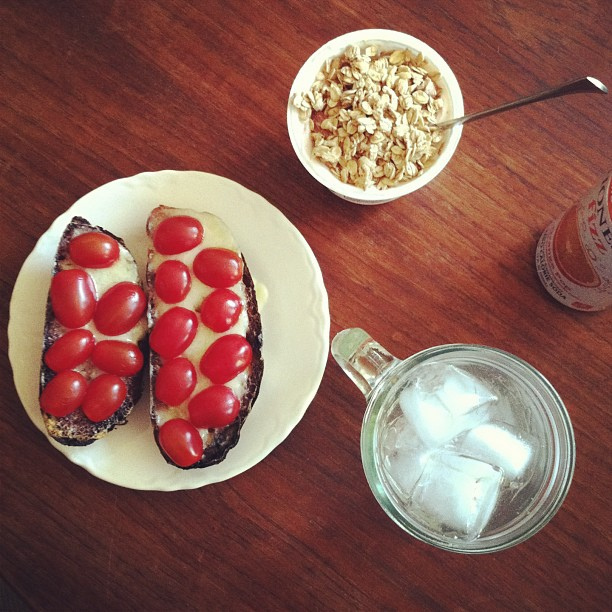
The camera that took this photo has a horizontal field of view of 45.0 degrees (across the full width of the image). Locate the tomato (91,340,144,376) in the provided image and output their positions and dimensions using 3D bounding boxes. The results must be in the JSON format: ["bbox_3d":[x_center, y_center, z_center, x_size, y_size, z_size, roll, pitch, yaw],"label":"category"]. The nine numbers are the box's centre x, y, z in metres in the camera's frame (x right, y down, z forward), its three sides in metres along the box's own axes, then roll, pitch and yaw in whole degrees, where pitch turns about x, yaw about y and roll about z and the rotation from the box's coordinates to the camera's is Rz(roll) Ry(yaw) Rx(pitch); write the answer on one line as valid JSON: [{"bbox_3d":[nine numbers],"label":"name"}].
[{"bbox_3d":[-0.266,0.074,1.047,0.072,0.045,0.043,11,108,6],"label":"tomato"}]

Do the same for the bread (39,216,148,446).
[{"bbox_3d":[-0.309,0.035,1.068,0.194,0.081,0.311,2,87,-5],"label":"bread"}]

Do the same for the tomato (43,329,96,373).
[{"bbox_3d":[-0.334,0.056,1.076,0.065,0.094,0.047,8,98,-14],"label":"tomato"}]

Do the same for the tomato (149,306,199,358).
[{"bbox_3d":[-0.187,0.037,1.044,0.060,0.040,0.076,39,89,-2],"label":"tomato"}]

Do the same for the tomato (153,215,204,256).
[{"bbox_3d":[-0.199,-0.099,1.074,0.027,0.097,0.065,42,131,41],"label":"tomato"}]

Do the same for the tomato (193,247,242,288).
[{"bbox_3d":[-0.130,-0.052,1.107,0.103,0.113,0.050,3,84,-9],"label":"tomato"}]

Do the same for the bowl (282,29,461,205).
[{"bbox_3d":[0.100,-0.276,1.186,0.307,0.100,0.238,-1,92,2],"label":"bowl"}]

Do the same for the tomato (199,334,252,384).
[{"bbox_3d":[-0.102,0.078,1.079,0.081,0.041,0.056,-35,88,-1],"label":"tomato"}]

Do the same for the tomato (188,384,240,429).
[{"bbox_3d":[-0.125,0.139,1.056,0.071,0.049,0.050,-27,88,7],"label":"tomato"}]

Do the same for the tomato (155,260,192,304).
[{"bbox_3d":[-0.190,-0.035,1.056,0.057,0.030,0.054,-2,87,-3],"label":"tomato"}]

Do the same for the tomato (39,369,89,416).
[{"bbox_3d":[-0.349,0.117,1.059,0.088,0.058,0.051,2,107,3],"label":"tomato"}]

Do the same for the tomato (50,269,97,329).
[{"bbox_3d":[-0.326,-0.010,1.037,0.070,0.066,0.077,-6,91,6],"label":"tomato"}]

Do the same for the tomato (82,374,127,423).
[{"bbox_3d":[-0.284,0.127,1.047,0.059,0.039,0.066,26,95,15],"label":"tomato"}]

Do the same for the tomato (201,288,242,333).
[{"bbox_3d":[-0.121,0.006,1.054,0.060,0.034,0.055,1,83,-6],"label":"tomato"}]

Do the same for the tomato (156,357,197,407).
[{"bbox_3d":[-0.182,0.107,1.040,0.060,0.036,0.064,25,85,4],"label":"tomato"}]

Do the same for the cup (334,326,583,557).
[{"bbox_3d":[0.126,0.163,1.007,0.373,0.411,0.201,2,117,0],"label":"cup"}]
